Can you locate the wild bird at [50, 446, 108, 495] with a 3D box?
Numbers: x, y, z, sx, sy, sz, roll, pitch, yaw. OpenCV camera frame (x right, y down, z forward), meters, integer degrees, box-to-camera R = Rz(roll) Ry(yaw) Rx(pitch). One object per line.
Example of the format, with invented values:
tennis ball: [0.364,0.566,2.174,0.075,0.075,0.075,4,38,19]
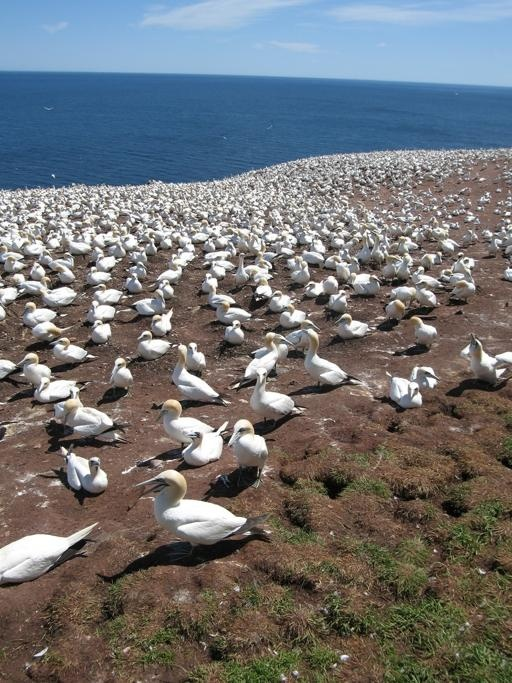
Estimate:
wild bird: [-3.068,2.229,9.413,0.488,0.645,1.043,-12,42,-41]

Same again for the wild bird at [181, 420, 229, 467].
wild bird: [-0.891,1.807,9.888,0.524,0.556,0.945,10,39,17]
